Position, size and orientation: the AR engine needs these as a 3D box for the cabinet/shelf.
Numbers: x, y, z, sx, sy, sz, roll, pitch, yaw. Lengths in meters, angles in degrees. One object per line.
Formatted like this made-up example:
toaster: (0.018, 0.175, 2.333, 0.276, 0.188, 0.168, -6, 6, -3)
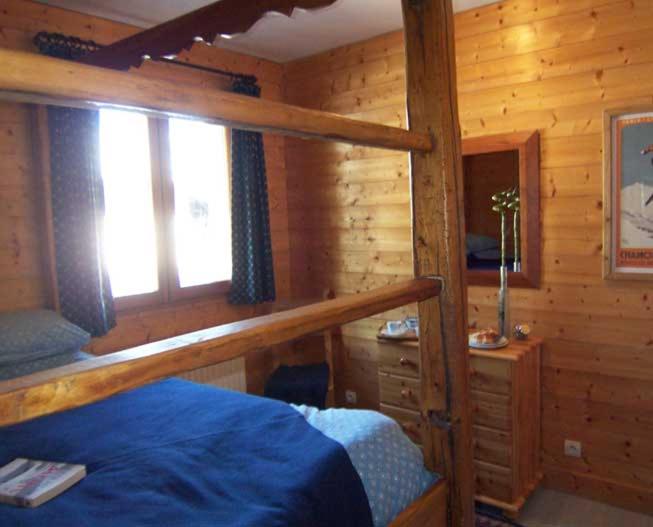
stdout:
cabinet/shelf: (0.807, 0.911, 3.480, 0.993, 0.922, 0.617, 1, 5, 36)
